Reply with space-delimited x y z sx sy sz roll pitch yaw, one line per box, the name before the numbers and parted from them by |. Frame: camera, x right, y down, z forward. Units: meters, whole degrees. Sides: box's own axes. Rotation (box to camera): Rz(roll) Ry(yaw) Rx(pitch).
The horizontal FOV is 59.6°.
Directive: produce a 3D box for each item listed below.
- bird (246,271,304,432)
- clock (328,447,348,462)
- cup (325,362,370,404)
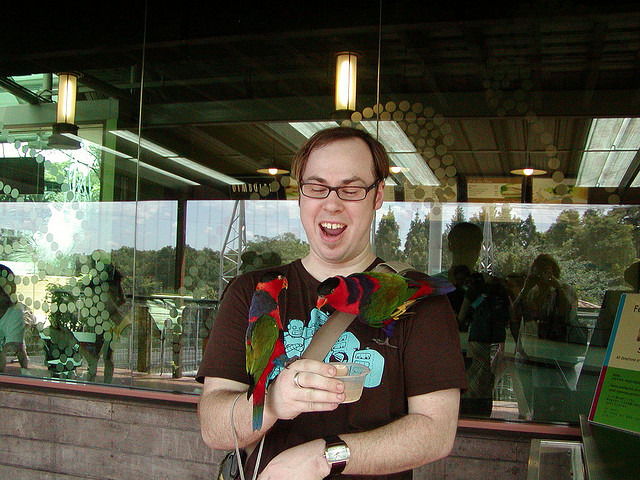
bird | -0.181 0.418 2.131 0.191 0.501 0.188 3 -1 4
clock | 0.067 0.797 2.091 0.047 0.068 0.051 2 -38 -13
cup | 0.112 0.512 1.985 0.145 0.092 0.143 1 -18 0
